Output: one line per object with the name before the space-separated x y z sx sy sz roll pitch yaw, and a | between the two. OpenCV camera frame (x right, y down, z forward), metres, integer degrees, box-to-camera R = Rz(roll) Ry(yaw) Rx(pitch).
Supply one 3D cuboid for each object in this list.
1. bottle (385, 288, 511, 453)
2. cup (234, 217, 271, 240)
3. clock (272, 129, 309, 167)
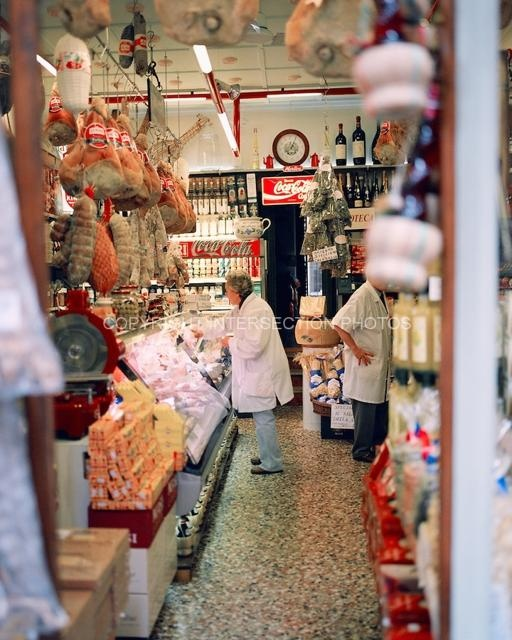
bottle | 0.360 0.089 1.013 0.230 0.273 0.192 -1 2 9
cup | -0.032 -1.114 7.011 0.405 0.224 0.317 -2 5 -9
clock | 0.502 -2.383 7.963 0.662 0.720 0.083 -2 4 7
